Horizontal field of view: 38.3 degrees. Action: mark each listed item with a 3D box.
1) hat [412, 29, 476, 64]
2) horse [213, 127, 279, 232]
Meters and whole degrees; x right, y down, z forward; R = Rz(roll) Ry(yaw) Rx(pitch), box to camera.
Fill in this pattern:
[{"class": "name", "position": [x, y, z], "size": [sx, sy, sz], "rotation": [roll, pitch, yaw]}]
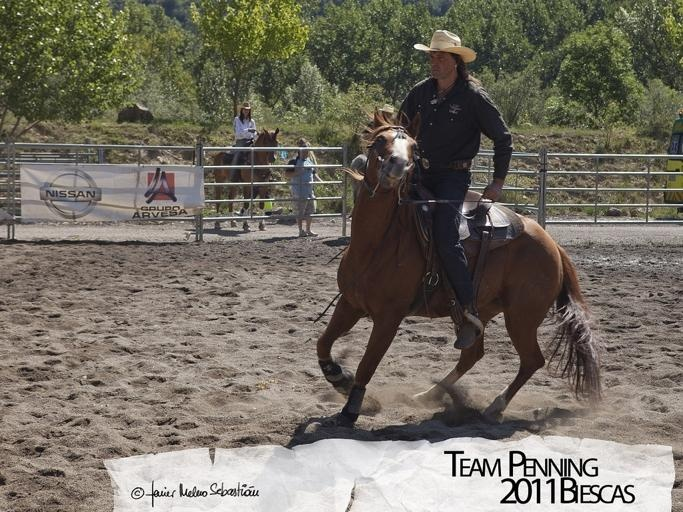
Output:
[{"class": "hat", "position": [1.276, -2.815, 12.903], "size": [0.640, 0.232, 0.648], "rotation": [8, 6, 1]}, {"class": "horse", "position": [-2.360, -1.781, 23.972], "size": [0.934, 2.292, 3.322], "rotation": [-3, 5, -33]}]
